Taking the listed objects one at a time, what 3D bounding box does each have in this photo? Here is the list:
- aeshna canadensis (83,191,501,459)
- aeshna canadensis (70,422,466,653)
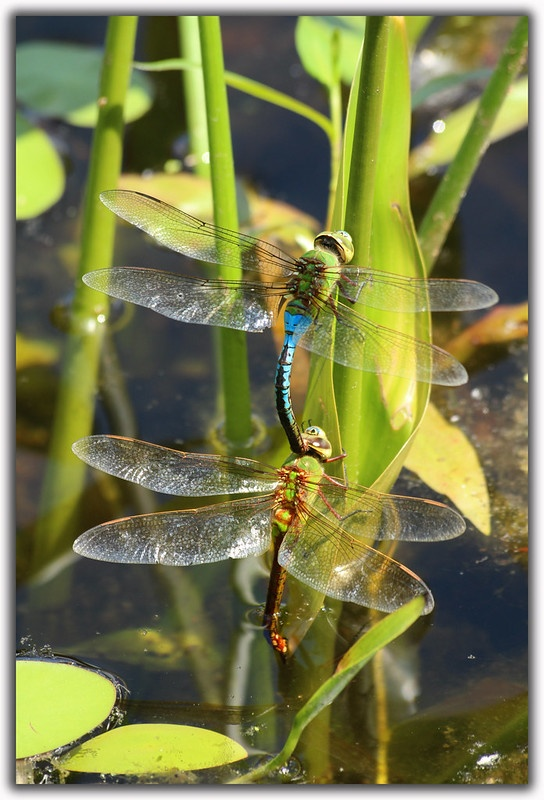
[{"bbox_3d":[-0.007,-0.114,1.195,0.615,0.151,0.296,17,73,4],"label":"aeshna canadensis"},{"bbox_3d":[0.054,0.194,1.208,0.520,0.214,0.360,13,78,35],"label":"aeshna canadensis"}]
